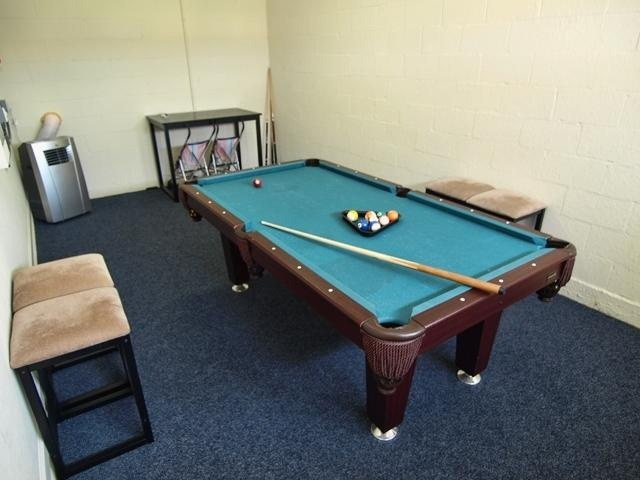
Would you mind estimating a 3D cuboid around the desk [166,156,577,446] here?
[{"bbox_3d":[0.379,0.451,3.208,1.253,0.913,2.742,-17,30,-32],"label":"desk"}]

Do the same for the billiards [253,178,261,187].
[{"bbox_3d":[-0.506,-0.461,3.899,0.057,0.059,0.058,-20,58,-31],"label":"billiards"}]

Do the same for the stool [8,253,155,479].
[{"bbox_3d":[-1.487,0.741,2.976,0.603,0.918,0.937,-14,27,-25],"label":"stool"}]
